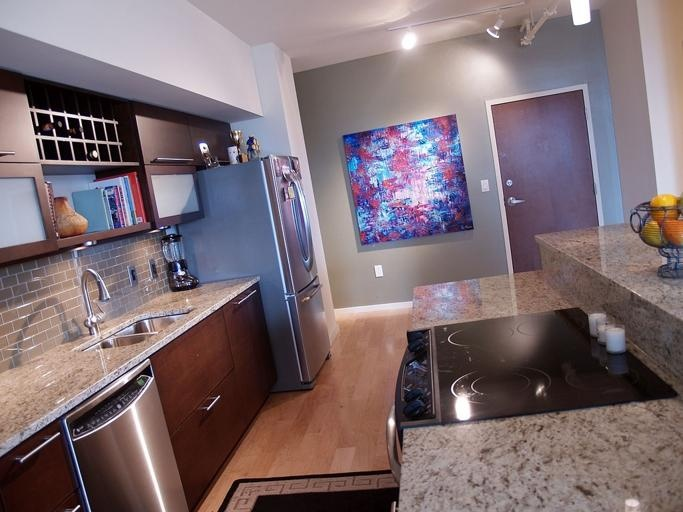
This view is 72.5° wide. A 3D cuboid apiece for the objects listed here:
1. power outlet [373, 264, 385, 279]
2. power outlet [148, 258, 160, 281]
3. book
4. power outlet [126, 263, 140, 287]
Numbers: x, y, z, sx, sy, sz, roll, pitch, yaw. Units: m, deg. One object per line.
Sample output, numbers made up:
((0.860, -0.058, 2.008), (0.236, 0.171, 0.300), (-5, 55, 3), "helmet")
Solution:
((0.438, 0.168, 5.304), (0.155, 0.220, 0.024), (-1, -1, 6), "power outlet")
((-1.371, 0.101, 3.408), (0.020, 0.195, 0.140), (-3, 8, 15), "power outlet")
((-1.410, -0.315, 2.809), (0.343, 0.362, 0.199), (-2, 17, 33), "book")
((-1.426, 0.133, 3.186), (0.017, 0.178, 0.156), (-5, 2, 13), "power outlet")
